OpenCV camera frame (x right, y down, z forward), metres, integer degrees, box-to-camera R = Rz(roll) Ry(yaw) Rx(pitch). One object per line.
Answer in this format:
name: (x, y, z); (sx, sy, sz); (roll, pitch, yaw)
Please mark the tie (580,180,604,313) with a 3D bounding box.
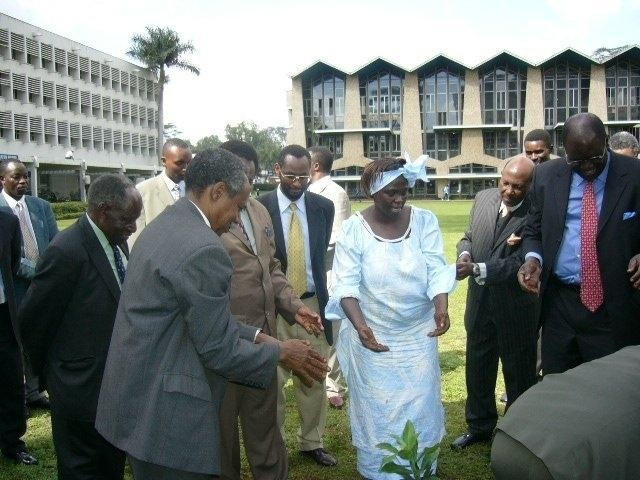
tie: (1.982, 0.049, 4.281); (0.143, 0.944, 0.124); (0, 3, 11)
